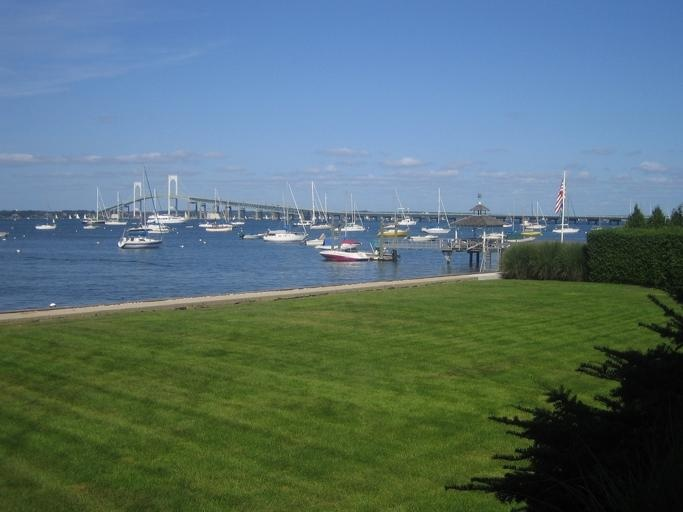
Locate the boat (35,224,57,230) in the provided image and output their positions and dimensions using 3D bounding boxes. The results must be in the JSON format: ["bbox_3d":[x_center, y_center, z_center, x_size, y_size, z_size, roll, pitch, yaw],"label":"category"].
[{"bbox_3d":[-97.569,-9.249,222.029,3.118,2.257,9.360,-3,6,-41],"label":"boat"}]
